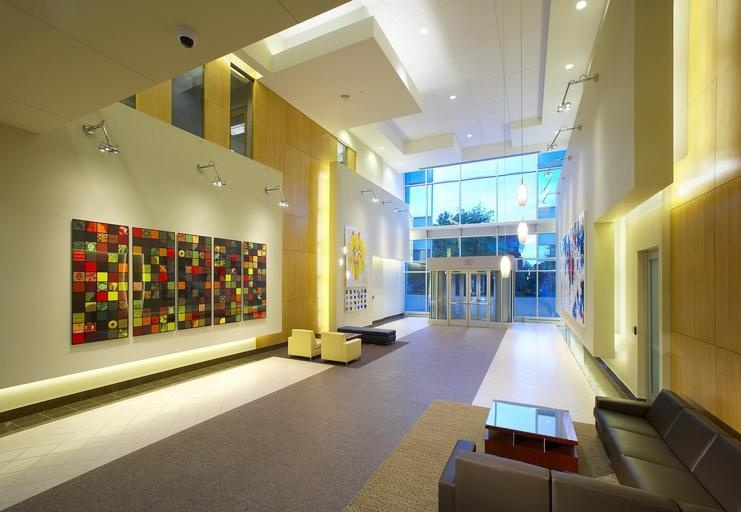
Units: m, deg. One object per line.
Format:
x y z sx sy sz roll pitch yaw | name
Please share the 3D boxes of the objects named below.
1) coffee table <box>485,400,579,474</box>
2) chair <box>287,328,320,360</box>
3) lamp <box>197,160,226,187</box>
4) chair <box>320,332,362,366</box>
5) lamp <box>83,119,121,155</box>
2.411 2.569 6.795 0.824 0.452 0.875 -1 -2 23 | coffee table
-1.547 2.074 11.390 0.654 0.734 0.688 0 1 24 | chair
-3.358 -1.770 10.057 0.273 0.566 0.650 6 15 27 | lamp
-0.644 2.095 11.022 0.739 0.779 0.725 -1 0 26 | chair
-4.771 -2.128 8.272 0.512 0.580 0.198 -7 14 -26 | lamp
